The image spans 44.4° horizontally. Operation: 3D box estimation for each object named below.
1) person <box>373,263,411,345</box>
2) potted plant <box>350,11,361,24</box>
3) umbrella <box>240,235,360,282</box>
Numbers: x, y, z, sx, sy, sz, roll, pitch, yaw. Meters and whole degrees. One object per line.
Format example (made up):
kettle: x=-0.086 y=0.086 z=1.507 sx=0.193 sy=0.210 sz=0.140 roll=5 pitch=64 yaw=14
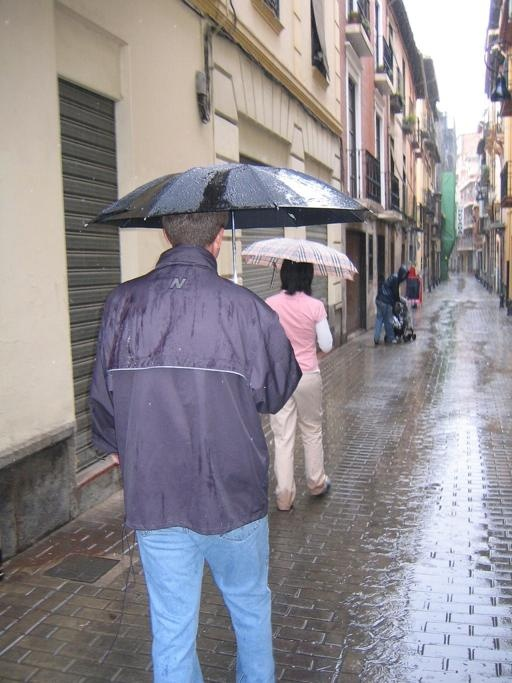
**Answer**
person: x=3.144 y=-0.798 z=14.716 sx=0.681 sy=1.787 sz=1.879 roll=1 pitch=5 yaw=11
potted plant: x=2.466 y=-7.870 z=15.525 sx=0.242 sy=0.348 sz=0.270 roll=-2 pitch=16 yaw=0
umbrella: x=0.417 y=-0.610 z=4.511 sx=0.539 sy=0.233 sz=0.573 roll=20 pitch=18 yaw=32
